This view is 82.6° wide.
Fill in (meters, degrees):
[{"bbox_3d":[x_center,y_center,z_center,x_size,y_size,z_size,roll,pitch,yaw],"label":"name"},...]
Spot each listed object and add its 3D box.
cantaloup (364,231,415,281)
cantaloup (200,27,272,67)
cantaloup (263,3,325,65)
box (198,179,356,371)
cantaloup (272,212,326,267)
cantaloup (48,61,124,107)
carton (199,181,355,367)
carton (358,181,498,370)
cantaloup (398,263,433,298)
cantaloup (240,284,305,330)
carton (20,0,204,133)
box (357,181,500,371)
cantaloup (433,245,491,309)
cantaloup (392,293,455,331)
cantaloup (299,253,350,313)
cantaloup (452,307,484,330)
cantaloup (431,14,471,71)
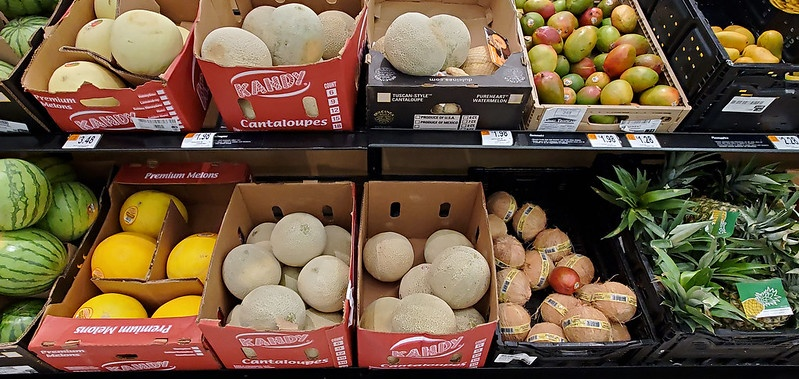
[{"bbox_3d":[-0.081,0.469,3.297,0.373,0.190,0.320,10,83,0],"label":"cantaloup"},{"bbox_3d":[-1.049,-0.881,2.885,0.438,0.182,0.246,-4,47,-3],"label":"cantaloup"},{"bbox_3d":[-0.667,-0.974,3.029,0.449,0.476,0.388,-3,47,-11],"label":"cantaloup"},{"bbox_3d":[-0.868,0.658,3.438,1.072,0.666,1.243,1,60,-3],"label":"box"},{"bbox_3d":[-0.663,0.357,3.281,0.412,0.349,0.360,-1,54,-3],"label":"cantaloup"},{"bbox_3d":[-2.051,-0.682,2.972,0.484,0.205,0.255,7,47,8],"label":"cantaloup"},{"bbox_3d":[-0.846,0.627,3.426,1.067,0.685,1.239,2,60,-3],"label":"carton"},{"bbox_3d":[0.172,0.674,3.415,1.050,0.724,1.261,1,61,-1],"label":"carton"},{"bbox_3d":[0.119,0.620,3.162,0.211,0.133,0.230,25,84,8],"label":"cantaloup"},{"bbox_3d":[-0.830,0.785,2.983,0.407,0.223,0.287,4,47,4],"label":"cantaloup"},{"bbox_3d":[-1.818,-0.804,3.307,1.063,0.600,0.936,-7,57,7],"label":"carton"},{"bbox_3d":[0.146,0.551,3.114,0.951,0.580,1.142,3,47,1],"label":"box"},{"bbox_3d":[0.401,0.600,3.086,0.418,0.340,0.328,2,47,3],"label":"cantaloup"},{"bbox_3d":[0.150,0.801,2.941,0.400,0.142,0.262,-1,46,0],"label":"cantaloup"},{"bbox_3d":[-0.523,0.653,3.204,0.400,0.409,0.365,-10,45,-6],"label":"cantaloup"},{"bbox_3d":[0.467,0.852,3.124,0.168,0.137,0.185,4,4,20],"label":"cantaloup"},{"bbox_3d":[0.363,-0.975,3.072,0.391,0.324,0.426,9,18,15],"label":"cantaloup"}]
